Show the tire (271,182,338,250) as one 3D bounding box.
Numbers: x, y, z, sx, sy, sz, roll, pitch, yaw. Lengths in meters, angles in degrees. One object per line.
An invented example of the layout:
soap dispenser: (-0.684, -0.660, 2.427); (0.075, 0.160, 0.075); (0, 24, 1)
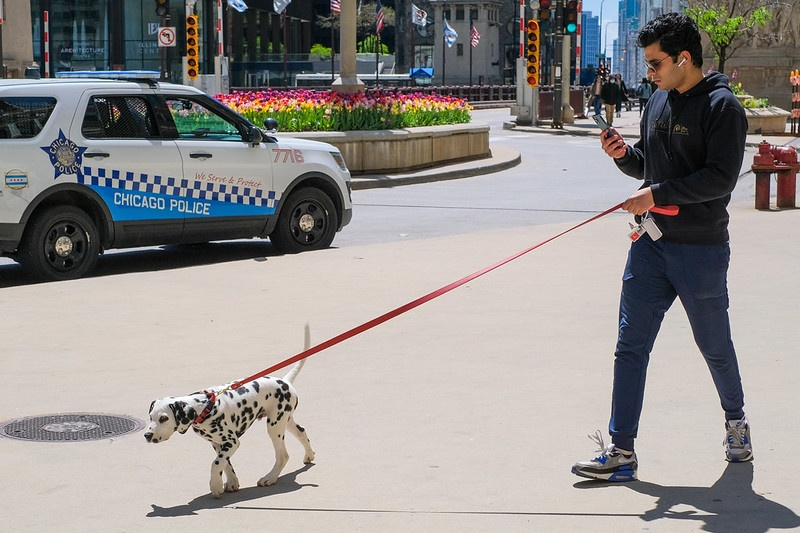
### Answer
tire: (-1.248, -0.553, 16.126); (0.350, 0.878, 0.951); (6, 3, 44)

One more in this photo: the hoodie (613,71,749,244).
hoodie: (1.972, -0.766, 8.989); (0.729, 1.170, 0.728); (-1, 15, -5)

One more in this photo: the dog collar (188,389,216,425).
dog collar: (-1.283, 0.944, 8.514); (0.058, 0.182, 0.144); (25, 10, -27)

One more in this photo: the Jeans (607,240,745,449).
Jeans: (1.997, 0.350, 9.154); (1.149, 1.840, 0.602); (-3, 12, -12)

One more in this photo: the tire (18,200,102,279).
tire: (-3.697, -0.245, 14.045); (0.868, 0.826, 0.219); (-6, 16, -23)
